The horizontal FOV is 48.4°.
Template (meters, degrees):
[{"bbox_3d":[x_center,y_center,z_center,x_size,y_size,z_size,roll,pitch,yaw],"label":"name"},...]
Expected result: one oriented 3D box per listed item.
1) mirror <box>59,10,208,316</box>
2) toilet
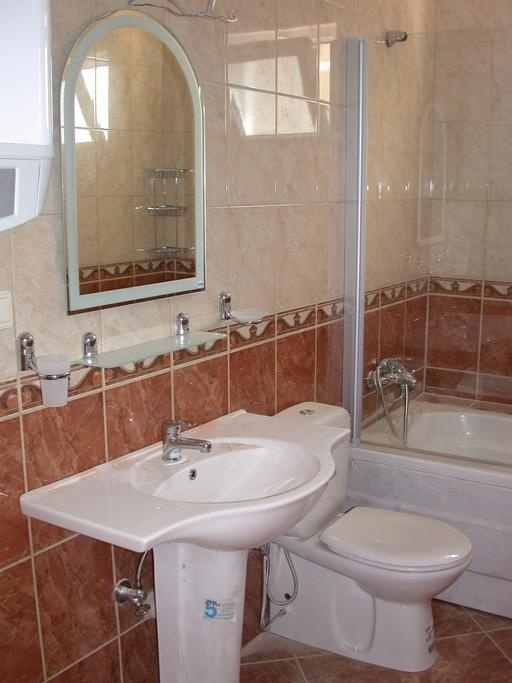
[{"bbox_3d":[-0.289,-0.457,1.409,0.017,0.711,0.459,12,19,37],"label":"mirror"},{"bbox_3d":[0.440,0.734,2.466,0.948,1.179,0.561,2,10,30],"label":"toilet"}]
